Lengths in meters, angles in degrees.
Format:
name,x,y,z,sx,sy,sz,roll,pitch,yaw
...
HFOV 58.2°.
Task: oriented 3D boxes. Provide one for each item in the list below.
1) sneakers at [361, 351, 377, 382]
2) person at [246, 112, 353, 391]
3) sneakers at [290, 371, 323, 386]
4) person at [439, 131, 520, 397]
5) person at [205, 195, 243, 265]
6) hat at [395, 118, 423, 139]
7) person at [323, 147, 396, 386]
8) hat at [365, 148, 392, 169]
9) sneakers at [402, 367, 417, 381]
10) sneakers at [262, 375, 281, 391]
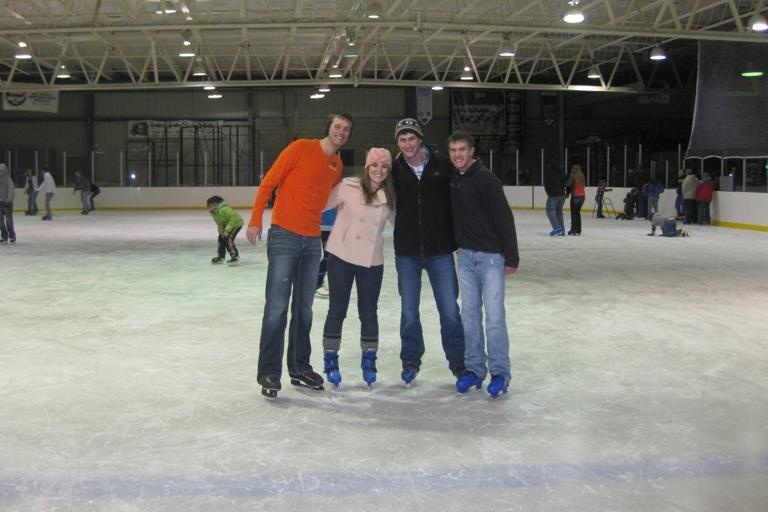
name,x,y,z,sx,sy,sz,roll,pitch,yaw
sneakers,-0.124,0.899,5.662,0.136,0.243,0.087,3,0,-30
person,-0.594,-0.099,5.585,1.051,2.245,0.576,10,-12,-29
sneakers,-0.618,0.997,5.663,0.307,0.127,0.114,-2,2,18
person,0.777,0.059,5.469,0.554,2.067,0.428,0,6,16
person,-2.831,-0.481,12.334,0.554,1.212,1.953,-3,6,-14
hat,0.208,-1.013,5.533,0.264,0.177,0.326,1,0,7
person,-0.175,0.052,5.543,0.763,1.856,0.565,5,-7,-8
hat,-0.050,-0.781,5.448,0.169,0.117,0.165,1,0,-12
sneakers,0.209,0.984,5.663,0.081,0.056,0.139,-5,21,9
sneakers,-0.877,0.989,5.339,0.146,0.133,0.108,-3,6,-13
